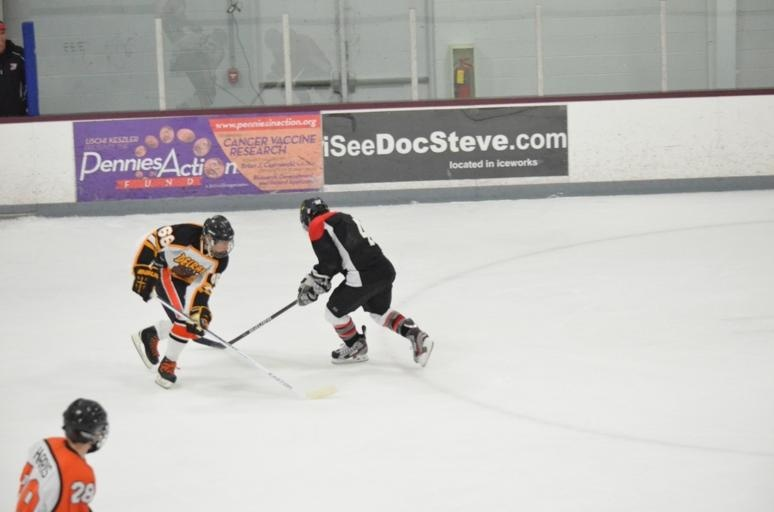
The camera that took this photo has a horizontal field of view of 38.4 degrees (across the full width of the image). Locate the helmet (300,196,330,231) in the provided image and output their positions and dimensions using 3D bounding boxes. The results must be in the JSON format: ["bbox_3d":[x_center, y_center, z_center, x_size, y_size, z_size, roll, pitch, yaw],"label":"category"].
[{"bbox_3d":[-0.700,-0.438,10.113,0.242,0.291,0.289,10,-38,-21],"label":"helmet"}]

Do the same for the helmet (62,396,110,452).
[{"bbox_3d":[-2.350,1.304,8.593,0.420,0.404,0.318,6,2,-23],"label":"helmet"}]

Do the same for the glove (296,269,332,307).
[{"bbox_3d":[-0.658,0.265,10.089,0.243,0.341,0.145,48,15,-13],"label":"glove"}]

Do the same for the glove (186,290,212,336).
[{"bbox_3d":[-1.668,0.506,9.913,0.224,0.358,0.158,15,-21,-42],"label":"glove"}]

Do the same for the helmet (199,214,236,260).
[{"bbox_3d":[-1.421,-0.162,9.861,0.280,0.335,0.356,-6,41,-43],"label":"helmet"}]

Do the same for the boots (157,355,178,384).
[{"bbox_3d":[-1.934,0.982,9.779,0.101,0.129,0.290,18,21,-27],"label":"boots"}]

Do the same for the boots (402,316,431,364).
[{"bbox_3d":[0.286,0.767,9.963,0.215,0.168,0.487,29,28,-47],"label":"boots"}]
